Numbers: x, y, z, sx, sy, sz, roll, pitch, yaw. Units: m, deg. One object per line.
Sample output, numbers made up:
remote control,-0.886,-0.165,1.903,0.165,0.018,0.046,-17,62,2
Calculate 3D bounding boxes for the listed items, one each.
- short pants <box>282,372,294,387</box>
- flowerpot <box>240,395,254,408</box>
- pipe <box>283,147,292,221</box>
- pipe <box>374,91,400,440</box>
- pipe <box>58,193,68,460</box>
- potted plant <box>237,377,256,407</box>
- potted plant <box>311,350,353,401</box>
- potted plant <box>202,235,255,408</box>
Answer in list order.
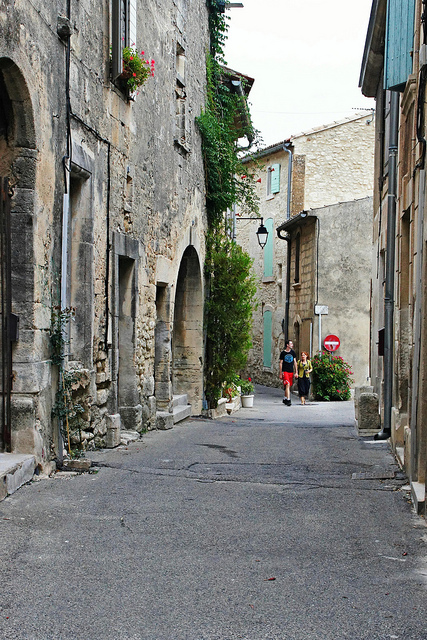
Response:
short pants,1.584,1.312,19.934,0.235,0.451,0.224,1,-7,-3
flowerpot,0.706,1.713,19.040,0.216,0.247,0.549,2,0,22
pipe,2.239,-4.164,28.281,0.245,2.151,0.760,2,0,4
pipe,2.120,-0.548,11.244,0.206,4.236,0.477,2,0,14
pipe,-1.254,0.048,7.639,0.058,2.071,0.461,2,0,-9
potted plant,0.660,1.547,19.317,0.430,0.814,0.534,-3,-4,32
potted plant,2.997,1.471,23.446,0.867,1.397,1.182,-1,-2,21
potted plant,0.143,0.026,15.277,0.551,2.773,1.148,2,0,42
